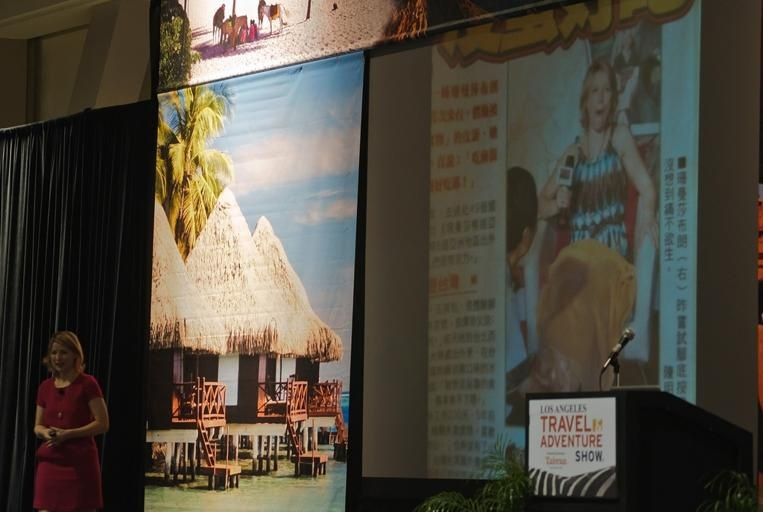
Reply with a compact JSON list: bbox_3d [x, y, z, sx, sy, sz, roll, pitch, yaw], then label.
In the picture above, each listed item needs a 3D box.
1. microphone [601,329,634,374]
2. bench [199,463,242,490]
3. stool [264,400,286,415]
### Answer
[{"bbox_3d":[1.781,0.728,7.415,0.124,0.407,0.108,25,-26,18],"label":"microphone"},{"bbox_3d":[-1.408,1.933,8.668,0.244,0.164,0.259,0,-7,7],"label":"bench"},{"bbox_3d":[-0.925,1.327,8.548,0.131,0.099,0.144,0,-7,6],"label":"stool"}]
